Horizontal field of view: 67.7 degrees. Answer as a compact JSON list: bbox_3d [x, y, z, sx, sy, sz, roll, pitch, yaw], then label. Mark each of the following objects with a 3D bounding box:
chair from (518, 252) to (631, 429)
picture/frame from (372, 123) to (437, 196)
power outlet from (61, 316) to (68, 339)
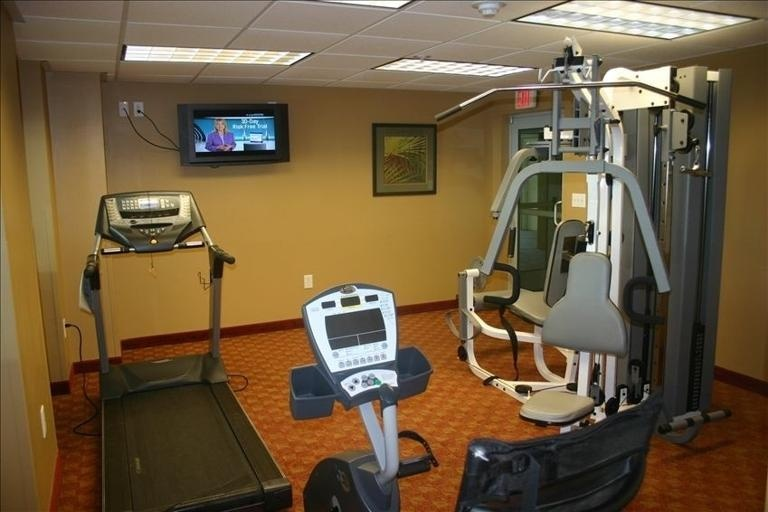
[{"bbox_3d":[1.374,0.522,4.011,0.776,1.108,1.222,3,8,32],"label":"chair"},{"bbox_3d":[0.232,-1.297,7.531,1.005,1.015,0.040,-1,3,-24],"label":"picture/frame"},{"bbox_3d":[-3.210,0.723,5.776,0.024,0.217,0.270,-8,10,-22],"label":"power outlet"}]
